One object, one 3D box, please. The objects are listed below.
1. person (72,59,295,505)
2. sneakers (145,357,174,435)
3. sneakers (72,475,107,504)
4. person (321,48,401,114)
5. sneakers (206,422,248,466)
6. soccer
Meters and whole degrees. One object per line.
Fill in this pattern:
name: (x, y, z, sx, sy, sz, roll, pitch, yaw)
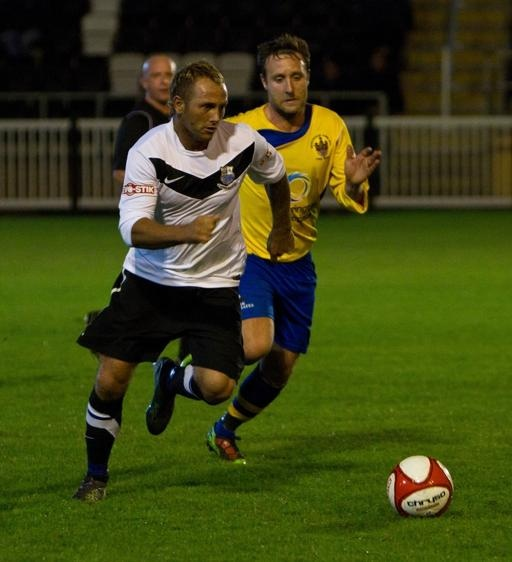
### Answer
person: (-0.320, -0.026, 3.844, 0.522, 1.657, 0.756, 3, 9, 26)
sneakers: (-0.479, 0.507, 4.404, 0.136, 0.344, 0.160, 4, 17, -25)
sneakers: (-0.620, 0.784, 3.778, 0.111, 0.075, 0.187, 2, 8, 22)
person: (2.060, -3.643, 16.902, 1.446, 1.241, 0.312, -2, -27, 7)
sneakers: (-0.122, 0.718, 4.352, 0.092, 0.119, 0.257, -3, 34, -47)
soccer: (0.592, 0.739, 3.553, 0.210, 0.195, 0.161, -4, 8, -20)
